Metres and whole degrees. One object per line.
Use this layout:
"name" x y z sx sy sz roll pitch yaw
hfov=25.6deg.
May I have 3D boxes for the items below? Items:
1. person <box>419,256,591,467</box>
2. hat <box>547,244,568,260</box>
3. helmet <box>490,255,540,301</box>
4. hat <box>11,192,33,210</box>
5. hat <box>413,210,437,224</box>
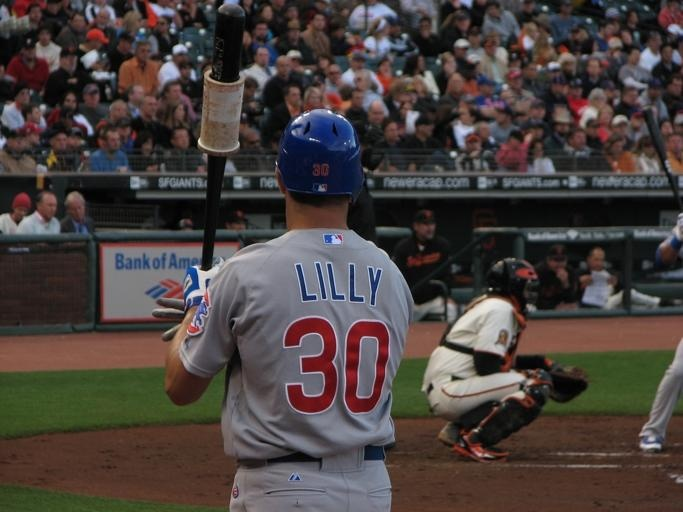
"person" 1.673 1.089 16.054 1.556 2.075 0.763 1 12 -5
"hat" 2.965 -0.048 20.619 0.225 0.163 0.328 2 -1 7
"helmet" 1.843 0.245 16.144 0.502 0.448 0.433 -5 9 -11
"hat" -4.202 -0.723 19.847 0.196 0.206 0.254 8 -3 -11
"hat" 1.139 -0.523 20.575 0.266 0.180 0.339 0 12 -8
